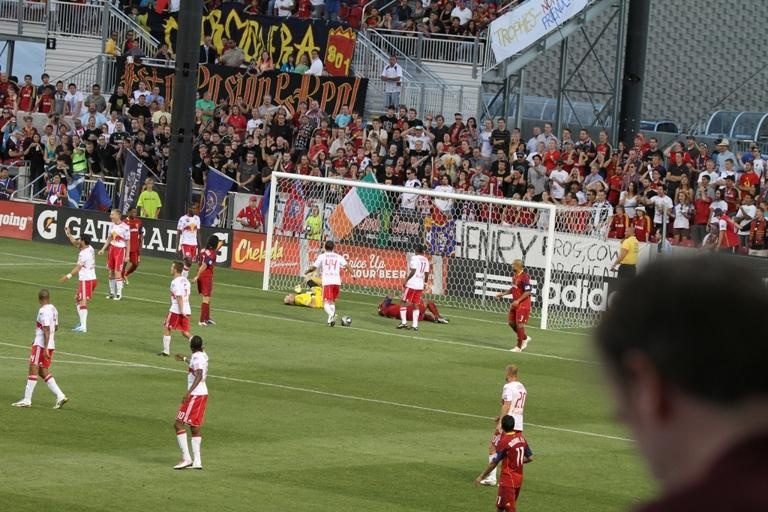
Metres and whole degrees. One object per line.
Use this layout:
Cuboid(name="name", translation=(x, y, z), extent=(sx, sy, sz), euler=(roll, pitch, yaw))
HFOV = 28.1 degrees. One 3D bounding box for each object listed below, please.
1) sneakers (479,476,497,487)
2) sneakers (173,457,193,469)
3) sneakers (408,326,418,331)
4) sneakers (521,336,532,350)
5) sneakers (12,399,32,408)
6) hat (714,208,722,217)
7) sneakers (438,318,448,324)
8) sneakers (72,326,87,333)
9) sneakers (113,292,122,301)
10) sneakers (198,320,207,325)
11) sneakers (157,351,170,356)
Cuboid(name="sneakers", translation=(2.381, 5.405, 36.484), extent=(0.443, 0.215, 0.168), euler=(3, -5, 8))
Cuboid(name="sneakers", translation=(-4.756, 4.962, 36.262), extent=(0.439, 0.201, 0.171), euler=(-2, -5, 14))
Cuboid(name="sneakers", translation=(0.785, 2.265, 47.662), extent=(0.102, 0.124, 0.279), euler=(-3, 10, -31))
Cuboid(name="sneakers", translation=(4.069, 2.610, 45.812), extent=(0.128, 0.392, 0.167), euler=(23, -10, 30))
Cuboid(name="sneakers", translation=(-9.063, 3.726, 38.527), extent=(0.427, 0.212, 0.191), euler=(5, -4, 2))
Cuboid(name="hat", translation=(10.473, -1.397, 49.312), extent=(0.189, 0.253, 0.248), euler=(2, 26, 18))
Cuboid(name="sneakers", translation=(1.724, 2.095, 49.088), extent=(0.367, 0.164, 0.128), euler=(6, 4, 18))
Cuboid(name="sneakers", translation=(-8.763, 2.136, 44.344), extent=(0.417, 0.188, 0.143), euler=(8, 4, 27))
Cuboid(name="sneakers", translation=(-8.435, 1.290, 48.454), extent=(0.197, 0.205, 0.467), euler=(0, -7, -1))
Cuboid(name="sneakers", translation=(-5.460, 2.033, 45.928), extent=(0.227, 0.106, 0.084), euler=(0, 9, -6))
Cuboid(name="sneakers", translation=(-6.150, 2.712, 42.685), extent=(0.320, 0.152, 0.119), euler=(8, 9, 18))
